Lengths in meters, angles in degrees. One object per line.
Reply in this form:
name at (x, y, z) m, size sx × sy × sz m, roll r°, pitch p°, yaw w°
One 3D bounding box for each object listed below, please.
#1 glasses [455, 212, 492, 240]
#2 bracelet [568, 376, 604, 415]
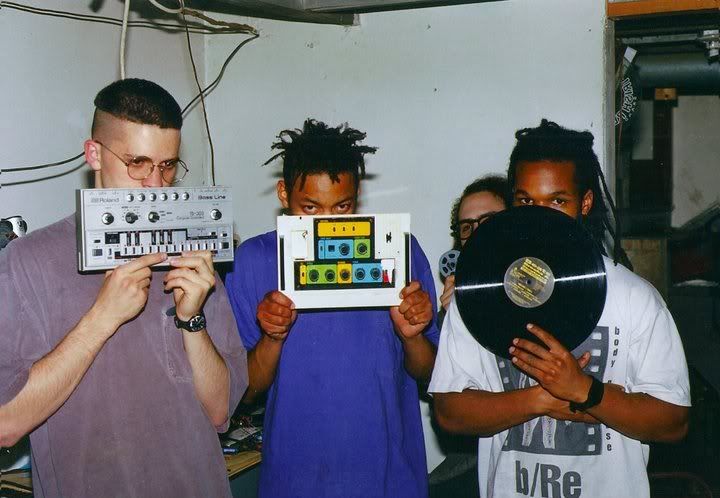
glasses at (0.797, -0.157, 4.883) m, size 0.228 × 0.070 × 0.215 m, roll 5°, pitch -14°, yaw -32°
bracelet at (1.067, 0.692, 3.221) m, size 0.150 × 0.176 × 0.065 m, roll 0°, pitch 3°, yaw 19°
